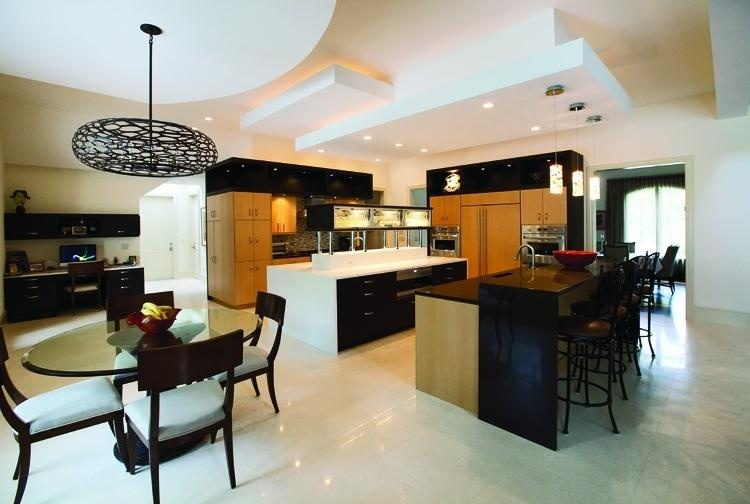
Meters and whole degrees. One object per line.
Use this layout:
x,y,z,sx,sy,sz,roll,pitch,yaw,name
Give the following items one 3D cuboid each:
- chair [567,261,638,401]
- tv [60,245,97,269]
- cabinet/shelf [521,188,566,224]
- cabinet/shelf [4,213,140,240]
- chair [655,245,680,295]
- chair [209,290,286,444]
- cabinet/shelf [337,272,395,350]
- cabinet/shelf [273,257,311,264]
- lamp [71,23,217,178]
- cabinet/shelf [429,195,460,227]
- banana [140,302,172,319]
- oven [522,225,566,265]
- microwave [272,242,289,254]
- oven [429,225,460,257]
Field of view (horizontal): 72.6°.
2.529,0.908,5.787,0.673,1.355,0.635,-17,13,-9,chair
-5.323,0.087,9.049,0.105,0.273,0.410,4,5,39,tv
2.845,-0.714,8.631,0.757,0.651,0.298,0,-13,19,cabinet/shelf
-5.366,-0.470,9.075,2.039,0.353,0.386,-6,5,-36,cabinet/shelf
5.357,0.317,9.577,0.555,0.775,0.573,-2,-4,27,chair
-1.448,1.143,5.603,0.806,1.238,0.734,-4,9,-34,chair
-0.205,0.775,7.000,1.043,0.950,0.369,-7,12,-35,cabinet/shelf
-1.577,0.150,9.775,0.308,0.114,0.910,-2,4,28,cabinet/shelf
-2.414,-1.707,5.480,1.277,1.461,1.337,15,14,37,lamp
1.329,-0.812,9.959,0.654,0.580,0.272,-4,7,-17,cabinet/shelf
-2.208,0.587,5.075,0.226,0.080,0.181,8,10,23,banana
2.929,-0.123,8.683,0.729,0.691,0.487,3,8,41,oven
-1.809,-0.105,9.711,0.194,0.197,0.295,4,4,42,microwave
1.365,-0.180,9.931,0.595,0.557,0.408,0,-7,16,oven
